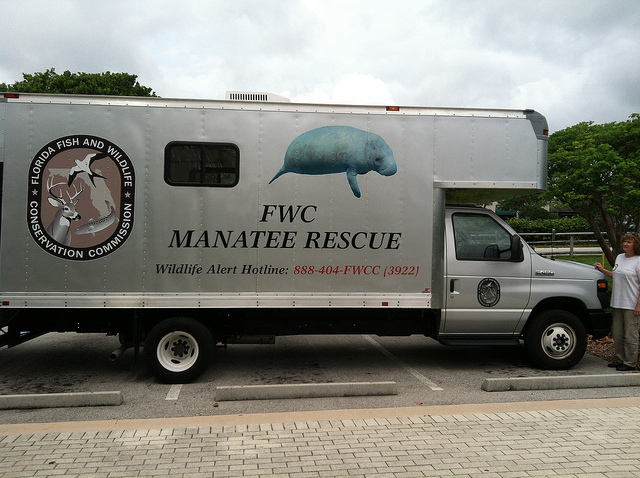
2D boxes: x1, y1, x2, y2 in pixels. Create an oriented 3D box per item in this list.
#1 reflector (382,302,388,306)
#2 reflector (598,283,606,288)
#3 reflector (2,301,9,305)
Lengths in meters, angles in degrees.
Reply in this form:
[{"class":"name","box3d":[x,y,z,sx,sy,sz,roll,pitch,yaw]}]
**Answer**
[{"class":"reflector","box3d":[0.991,0.989,8.963,0.064,0.065,0.017,0,1,-3]},{"class":"reflector","box3d":[4.627,0.757,9.560,0.112,0.067,0.077,-5,17,9]},{"class":"reflector","box3d":[-4.606,0.930,8.510,0.050,0.054,0.013,3,3,-25]}]
